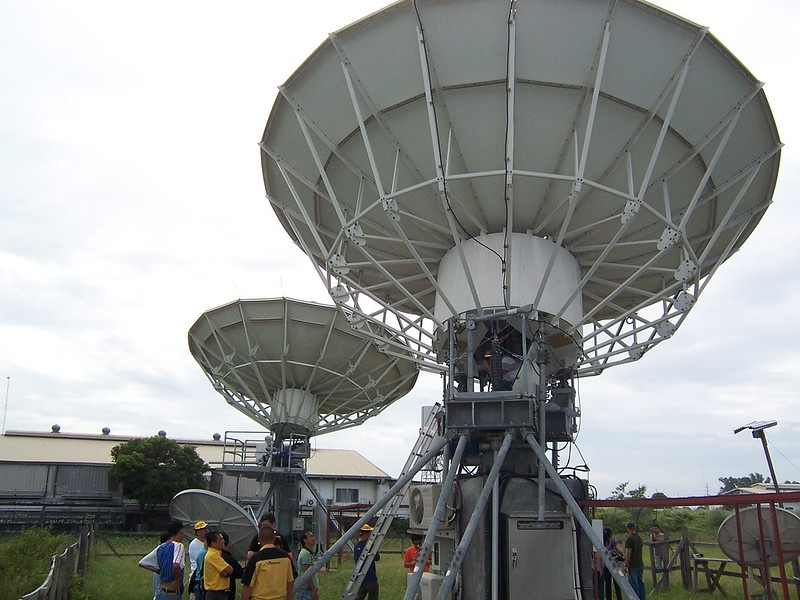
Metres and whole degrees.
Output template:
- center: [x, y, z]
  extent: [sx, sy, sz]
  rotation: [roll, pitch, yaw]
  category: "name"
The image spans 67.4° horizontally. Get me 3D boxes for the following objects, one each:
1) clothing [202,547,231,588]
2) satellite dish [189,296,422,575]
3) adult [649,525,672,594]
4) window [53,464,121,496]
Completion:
- center: [-3.615, 5.372, 12.053]
  extent: [0.591, 0.999, 0.807]
  rotation: [3, -31, -23]
  category: "clothing"
- center: [-6.063, 8.141, 34.850]
  extent: [13.177, 10.267, 13.717]
  rotation: [23, -36, -30]
  category: "satellite dish"
- center: [9.951, 9.583, 22.859]
  extent: [0.445, 0.455, 2.290]
  rotation: [9, -59, 29]
  category: "adult"
- center: [-29.407, 17.061, 56.171]
  extent: [4.788, 3.138, 0.248]
  rotation: [0, -44, -12]
  category: "window"
